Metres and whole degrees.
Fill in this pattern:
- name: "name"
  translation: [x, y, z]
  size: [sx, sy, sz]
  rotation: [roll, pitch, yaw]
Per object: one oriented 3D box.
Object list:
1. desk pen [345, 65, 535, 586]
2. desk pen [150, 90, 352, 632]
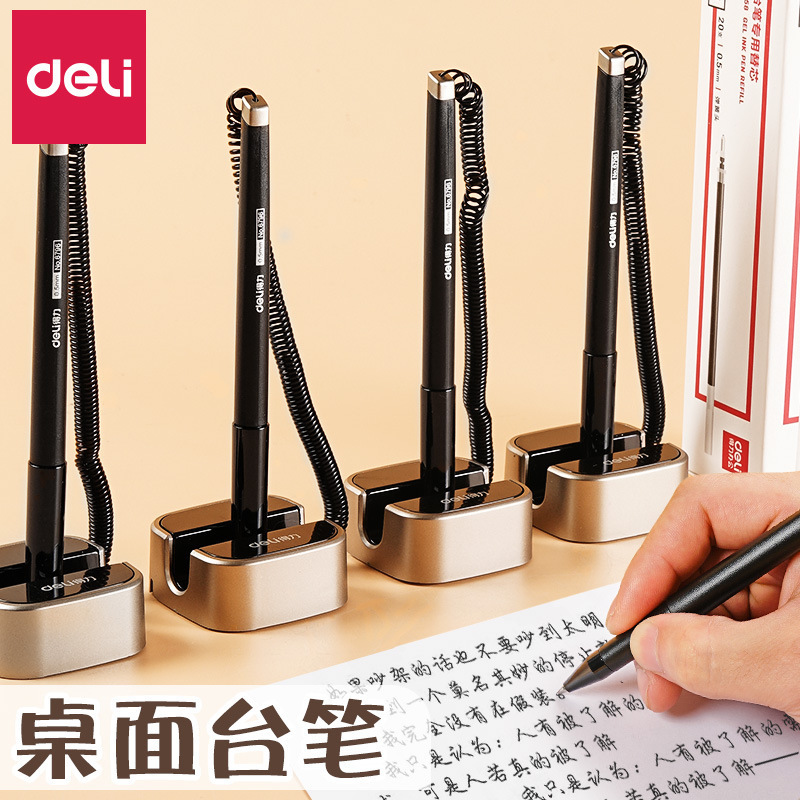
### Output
- name: "desk pen"
  translation: [0.014, -0.034, 0.534]
  size: [0.083, 0.266, 0.079]
  rotation: [-12, 15, -33]
- name: "desk pen"
  translation: [-0.077, -0.019, 0.505]
  size: [0.113, 0.257, 0.110]
  rotation: [-13, 15, -35]
